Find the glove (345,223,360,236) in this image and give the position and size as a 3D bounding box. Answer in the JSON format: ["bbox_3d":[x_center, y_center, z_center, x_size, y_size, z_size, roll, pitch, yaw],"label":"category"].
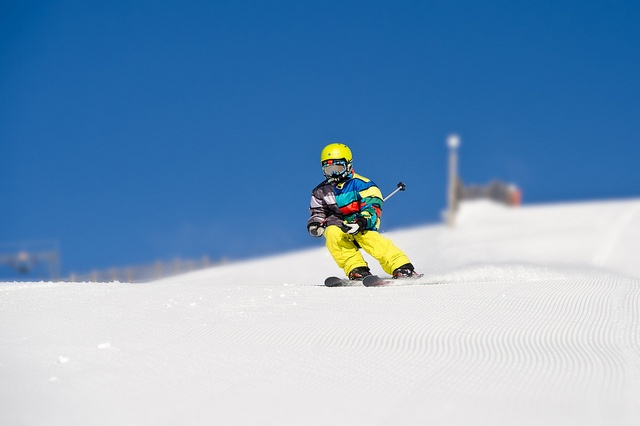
[{"bbox_3d":[0.353,0.181,9.430,0.106,0.126,0.059,-4,15,5],"label":"glove"}]

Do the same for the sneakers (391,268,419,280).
[{"bbox_3d":[0.926,0.668,9.373,0.300,0.101,0.132,5,-19,-37],"label":"sneakers"}]

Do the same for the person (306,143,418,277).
[{"bbox_3d":[0.357,0.130,9.606,0.995,1.554,0.804,-29,-32,30],"label":"person"}]
